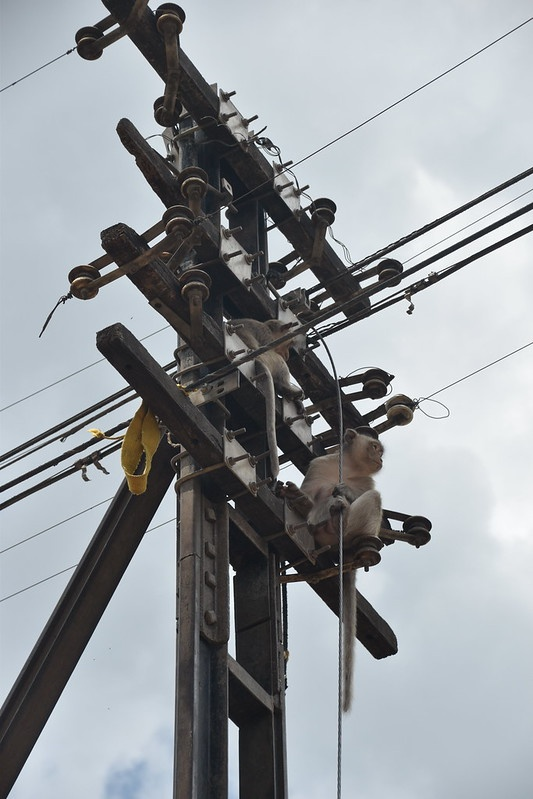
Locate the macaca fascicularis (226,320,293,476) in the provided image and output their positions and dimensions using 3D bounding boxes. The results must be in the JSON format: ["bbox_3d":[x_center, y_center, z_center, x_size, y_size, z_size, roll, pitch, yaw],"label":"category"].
[{"bbox_3d":[0.034,-0.130,13.997,0.338,1.359,0.487,-27,-42,36],"label":"macaca fascicularis"}]

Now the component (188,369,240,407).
[{"bbox_3d":[-0.358,-0.024,13.443,0.353,0.292,0.180,-7,-50,11],"label":"component"}]
